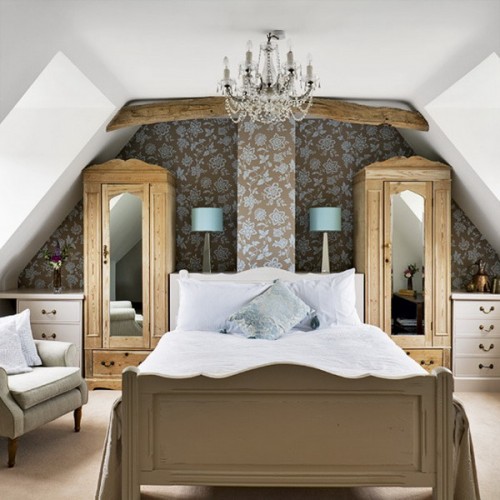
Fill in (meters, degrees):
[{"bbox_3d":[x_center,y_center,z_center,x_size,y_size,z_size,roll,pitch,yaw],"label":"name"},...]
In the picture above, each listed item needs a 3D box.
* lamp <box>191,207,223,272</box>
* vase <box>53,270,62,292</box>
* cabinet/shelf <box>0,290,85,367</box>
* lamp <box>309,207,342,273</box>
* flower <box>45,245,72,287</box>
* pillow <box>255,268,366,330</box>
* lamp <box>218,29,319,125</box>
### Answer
[{"bbox_3d":[-0.373,-0.105,5.349,0.276,0.545,0.479,0,8,-4],"label":"lamp"},{"bbox_3d":[-1.672,0.260,5.340,0.071,0.197,0.263,-2,8,-18],"label":"vase"},{"bbox_3d":[-1.533,0.589,4.601,0.594,0.571,0.304,-1,-3,-6],"label":"cabinet/shelf"},{"bbox_3d":[0.650,-0.102,5.337,0.289,0.551,0.431,1,8,5],"label":"lamp"},{"bbox_3d":[-1.720,0.148,5.467,0.194,0.412,0.337,-2,8,-14],"label":"flower"},{"bbox_3d":[0.458,0.377,4.757,0.429,0.520,0.794,-10,-12,31],"label":"pillow"},{"bbox_3d":[0.116,-1.075,3.946,0.547,0.517,0.586,1,11,4],"label":"lamp"}]
